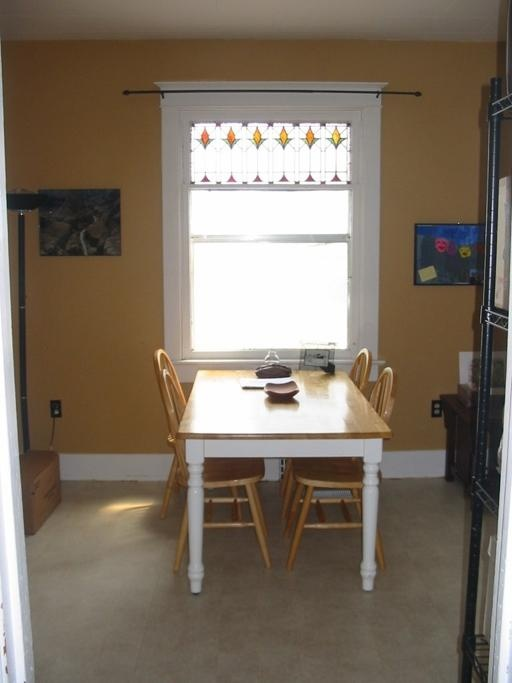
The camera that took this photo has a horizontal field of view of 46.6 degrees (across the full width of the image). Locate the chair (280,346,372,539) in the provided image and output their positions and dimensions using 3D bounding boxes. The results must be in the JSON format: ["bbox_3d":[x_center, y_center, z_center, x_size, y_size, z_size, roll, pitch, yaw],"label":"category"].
[{"bbox_3d":[0.323,0.498,2.628,0.306,0.813,0.362,-9,4,-8],"label":"chair"}]

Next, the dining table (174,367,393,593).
[{"bbox_3d":[0.106,0.586,2.826,0.839,0.685,1.147,0,7,0],"label":"dining table"}]

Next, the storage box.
[{"bbox_3d":[-1.144,0.769,3.086,0.161,0.286,0.389,0,12,5],"label":"storage box"}]

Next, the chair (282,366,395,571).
[{"bbox_3d":[0.346,0.505,2.662,0.467,0.944,0.461,12,9,34],"label":"chair"}]

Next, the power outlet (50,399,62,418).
[{"bbox_3d":[-1.203,0.396,3.573,0.074,0.158,0.013,0,5,-8],"label":"power outlet"}]

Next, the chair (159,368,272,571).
[{"bbox_3d":[-0.176,0.590,2.660,0.379,1.006,0.430,-1,18,-2],"label":"chair"}]
